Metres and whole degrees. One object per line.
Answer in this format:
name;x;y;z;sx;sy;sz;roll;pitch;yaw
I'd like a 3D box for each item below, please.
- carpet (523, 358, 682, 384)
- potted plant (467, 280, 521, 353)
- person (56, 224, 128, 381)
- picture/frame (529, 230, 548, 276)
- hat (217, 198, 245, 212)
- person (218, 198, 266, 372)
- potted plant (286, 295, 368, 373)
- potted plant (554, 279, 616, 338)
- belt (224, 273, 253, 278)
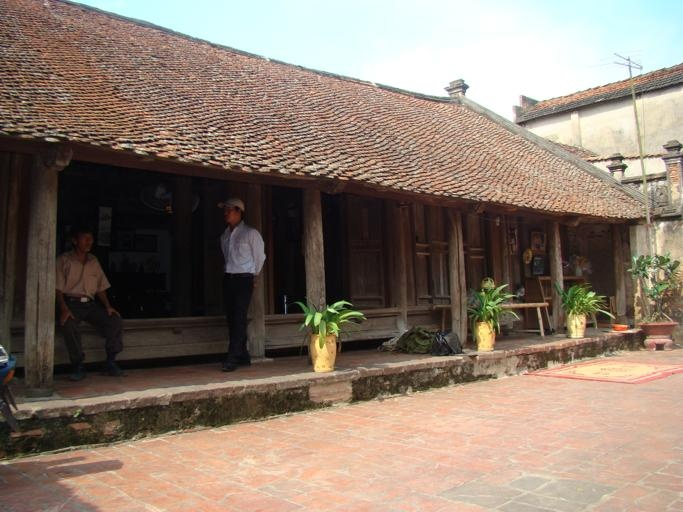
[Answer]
carpet;5.089;2.157;9.476;2.713;0.092;1.921;2;-4;-39
potted plant;2.661;1.201;9.506;1.223;1.089;1.003;-6;-5;41
person;-3.480;0.649;6.993;0.817;2.006;0.857;1;-4;-26
picture/frame;5.670;-0.101;14.361;0.252;1.306;0.922;-4;-5;37
hat;-1.702;-0.848;7.903;0.424;0.190;0.283;6;-9;-22
person;-1.518;0.385;7.754;0.623;2.636;0.790;0;-4;-12
potted plant;0.094;1.227;7.215;1.303;0.869;0.944;11;-14;-29
potted plant;5.640;1.280;11.519;1.406;1.016;1.233;0;-3;31
belt;-1.576;0.301;7.715;0.448;0.098;0.125;-2;-4;22
